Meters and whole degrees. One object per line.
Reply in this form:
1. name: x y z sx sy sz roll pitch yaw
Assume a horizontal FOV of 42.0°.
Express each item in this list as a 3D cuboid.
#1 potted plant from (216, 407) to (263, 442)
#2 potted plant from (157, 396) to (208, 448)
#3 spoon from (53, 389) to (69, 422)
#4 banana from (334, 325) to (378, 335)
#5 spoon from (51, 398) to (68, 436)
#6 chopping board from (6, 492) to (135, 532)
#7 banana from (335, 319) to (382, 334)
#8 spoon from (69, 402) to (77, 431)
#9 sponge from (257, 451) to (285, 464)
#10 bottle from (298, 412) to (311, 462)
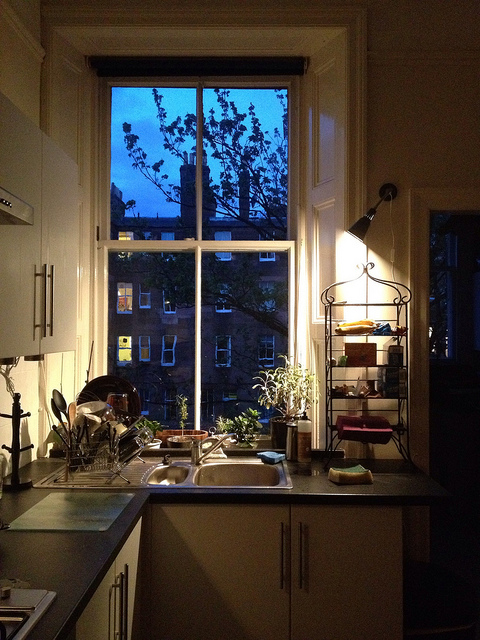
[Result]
1. potted plant: 0.000 0.516 3.019 0.129 0.135 0.161 -2 -15 7
2. potted plant: -0.289 0.523 3.125 0.177 0.322 0.211 0 -10 -3
3. spoon: -0.724 0.330 2.519 0.040 0.179 0.020 -21 -7 32
4. banana: 0.485 0.041 2.612 0.161 0.039 0.065 -1 -2 2
5. spoon: -0.747 0.401 2.583 0.023 0.186 0.032 9 -39 -42
6. chopping board: -0.537 0.624 2.041 0.319 0.035 0.375 -1 -2 2
7. banana: 0.494 0.029 2.620 0.178 0.058 0.090 -2 -2 14
8. spoon: -0.671 0.377 2.514 0.021 0.170 0.020 5 -8 -14
9. sponge: 0.134 0.595 2.708 0.119 0.038 0.122 -1 -2 3
10. bottle: 0.276 0.518 2.671 0.055 0.180 0.049 -1 -1 5
